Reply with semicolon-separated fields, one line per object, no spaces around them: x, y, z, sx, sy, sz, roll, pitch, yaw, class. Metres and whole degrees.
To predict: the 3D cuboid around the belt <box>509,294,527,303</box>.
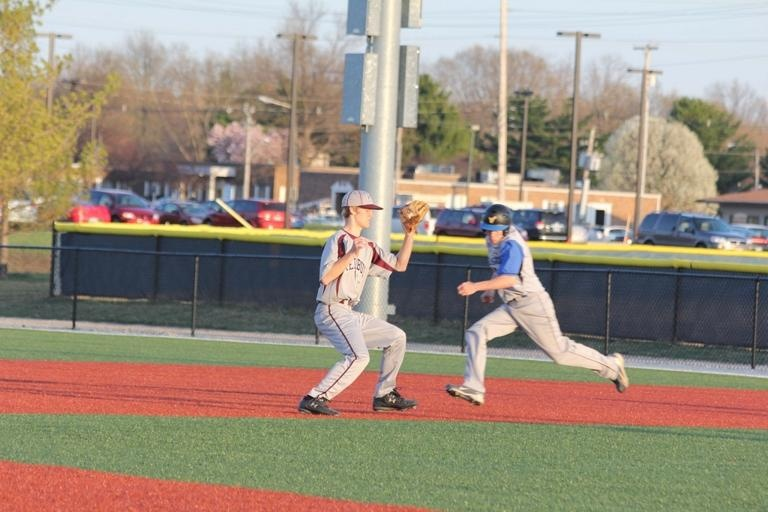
4.268;1.316;55.131;0.518;0.233;0.024;2;6;4;belt
